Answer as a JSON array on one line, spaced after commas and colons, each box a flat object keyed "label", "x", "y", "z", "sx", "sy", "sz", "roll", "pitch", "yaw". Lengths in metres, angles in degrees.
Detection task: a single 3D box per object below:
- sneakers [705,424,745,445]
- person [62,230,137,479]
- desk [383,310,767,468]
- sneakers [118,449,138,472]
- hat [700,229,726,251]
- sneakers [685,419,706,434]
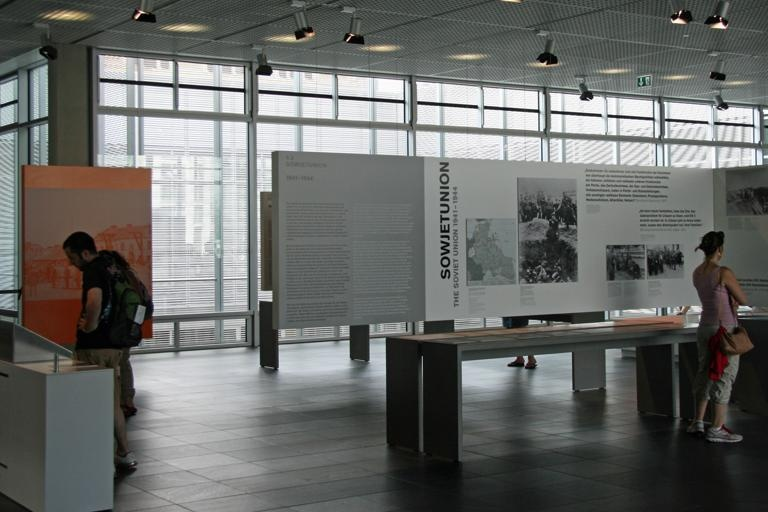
[{"label": "sneakers", "x": 3.724, "y": 1.933, "z": 6.500, "sx": 0.466, "sy": 0.149, "sz": 0.154, "roll": 1, "pitch": -2, "yaw": -9}, {"label": "person", "x": -2.679, "y": 0.896, "z": 5.662, "sx": 0.640, "sy": 2.248, "sz": 0.649, "roll": 0, "pitch": -1, "yaw": -25}, {"label": "desk", "x": 2.109, "y": 1.404, "z": 7.556, "sx": 4.832, "sy": 1.243, "sz": 2.160, "roll": 0, "pitch": -1, "yaw": -23}, {"label": "sneakers", "x": -2.467, "y": 1.962, "z": 5.741, "sx": 0.266, "sy": 0.133, "sz": 0.110, "roll": 3, "pitch": -2, "yaw": -19}, {"label": "hat", "x": 3.761, "y": -0.174, "z": 6.751, "sx": 0.342, "sy": 0.206, "sz": 0.223, "roll": -9, "pitch": 2, "yaw": 18}, {"label": "sneakers", "x": 3.528, "y": 1.904, "z": 6.763, "sx": 0.170, "sy": 0.118, "sz": 0.340, "roll": 1, "pitch": 0, "yaw": 26}]
